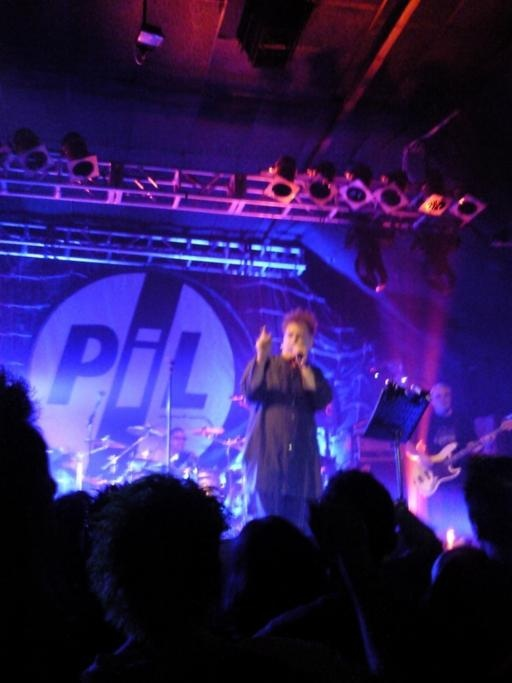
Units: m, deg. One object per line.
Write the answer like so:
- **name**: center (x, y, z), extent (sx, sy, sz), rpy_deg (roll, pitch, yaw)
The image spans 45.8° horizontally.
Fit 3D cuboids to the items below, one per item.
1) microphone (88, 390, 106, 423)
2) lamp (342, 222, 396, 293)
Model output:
- **microphone**: center (-1.653, 0.712, 6.276), extent (0.097, 0.416, 0.210), rpy_deg (5, -7, 7)
- **lamp**: center (0.996, -0.795, 5.159), extent (0.154, 0.719, 0.411), rpy_deg (-14, -7, -38)
